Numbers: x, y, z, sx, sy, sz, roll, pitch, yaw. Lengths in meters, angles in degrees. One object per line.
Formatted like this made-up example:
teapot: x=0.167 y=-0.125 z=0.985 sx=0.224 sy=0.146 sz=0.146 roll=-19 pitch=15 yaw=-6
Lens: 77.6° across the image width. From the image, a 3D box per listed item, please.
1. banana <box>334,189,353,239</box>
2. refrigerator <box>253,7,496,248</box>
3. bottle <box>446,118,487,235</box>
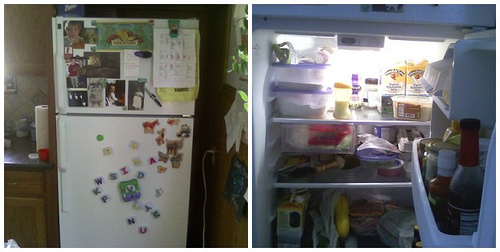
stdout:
banana: x=0.690 y=0.665 z=2.369 sx=0.144 sy=0.331 sz=0.121 roll=3 pitch=-33 yaw=-4
refrigerator: x=0.723 y=-0.067 z=2.341 sx=1.503 sy=1.103 sz=1.850 roll=0 pitch=14 yaw=-3
bottle: x=1.155 y=0.273 z=1.650 sx=0.150 sy=0.621 sz=0.066 roll=4 pitch=11 yaw=24
